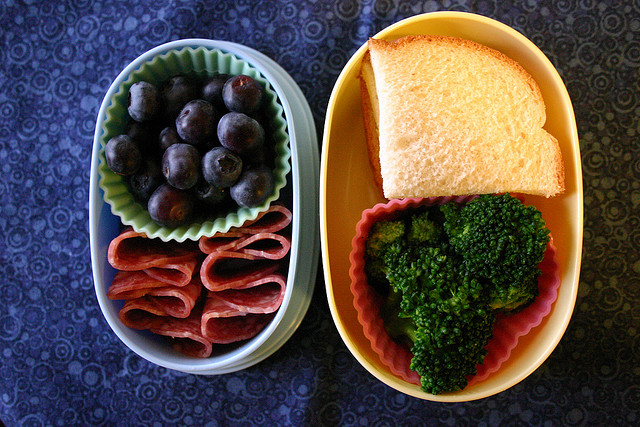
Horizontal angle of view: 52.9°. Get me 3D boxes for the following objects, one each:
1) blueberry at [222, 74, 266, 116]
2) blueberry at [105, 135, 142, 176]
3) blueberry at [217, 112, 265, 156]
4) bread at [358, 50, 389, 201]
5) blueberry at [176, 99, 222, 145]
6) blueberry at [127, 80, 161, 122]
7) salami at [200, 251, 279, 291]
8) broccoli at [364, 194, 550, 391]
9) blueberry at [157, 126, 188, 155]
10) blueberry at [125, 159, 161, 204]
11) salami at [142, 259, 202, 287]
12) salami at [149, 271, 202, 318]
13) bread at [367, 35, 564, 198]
[{"bbox_3d":[-0.215,-0.334,1.855,0.120,0.112,0.111,-23,-5,-2],"label":"blueberry"},{"bbox_3d":[-0.550,-0.163,1.808,0.067,0.113,0.092,7,22,18],"label":"blueberry"},{"bbox_3d":[-0.223,-0.221,1.821,0.127,0.114,0.095,3,-5,1],"label":"blueberry"},{"bbox_3d":[0.154,-0.252,1.896,0.068,0.328,0.251,-7,24,1],"label":"bread"},{"bbox_3d":[-0.339,-0.255,1.867,0.111,0.141,0.120,35,51,29],"label":"blueberry"},{"bbox_3d":[-0.499,-0.319,1.829,0.065,0.102,0.099,6,23,22],"label":"blueberry"},{"bbox_3d":[-0.254,0.133,1.900,0.135,0.056,0.146,-3,6,6],"label":"salami"},{"bbox_3d":[0.415,0.186,1.814,0.485,0.525,0.171,-25,-5,-2],"label":"broccoli"},{"bbox_3d":[-0.431,-0.218,1.888,0.068,0.076,0.090,-5,-43,-5],"label":"blueberry"},{"bbox_3d":[-0.501,-0.098,1.844,0.084,0.119,0.062,27,5,4],"label":"blueberry"},{"bbox_3d":[-0.433,0.175,1.876,0.090,0.034,0.098,6,30,10],"label":"salami"},{"bbox_3d":[-0.428,0.213,1.889,0.100,0.130,0.123,-9,23,-28],"label":"salami"},{"bbox_3d":[0.402,-0.353,1.789,0.522,0.426,0.477,5,37,15],"label":"bread"}]
